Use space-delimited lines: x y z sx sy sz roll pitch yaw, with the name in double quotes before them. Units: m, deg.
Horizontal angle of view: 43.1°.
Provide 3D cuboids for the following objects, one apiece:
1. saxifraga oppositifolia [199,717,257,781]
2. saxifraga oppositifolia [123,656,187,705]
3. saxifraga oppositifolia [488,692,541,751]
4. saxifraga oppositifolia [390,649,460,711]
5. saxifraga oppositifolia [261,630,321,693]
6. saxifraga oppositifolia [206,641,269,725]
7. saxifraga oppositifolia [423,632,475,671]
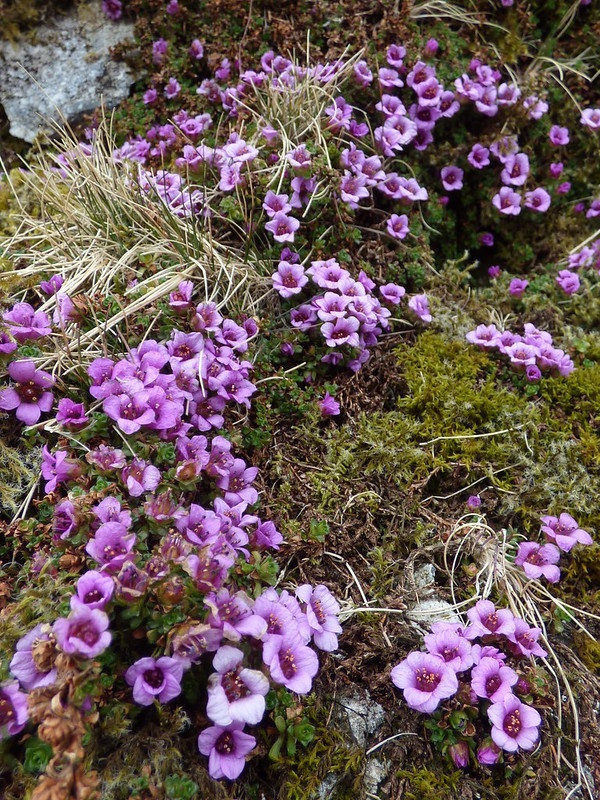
"saxifraga oppositifolia" -0.243 1.203 2.582 0.171 0.231 0.164 -19 58 -18
"saxifraga oppositifolia" -0.487 0.945 2.525 0.191 0.214 0.124 1 54 -5
"saxifraga oppositifolia" 0.761 1.146 2.694 0.196 0.080 0.181 -4 53 -9
"saxifraga oppositifolia" 0.458 1.028 2.720 0.237 0.245 0.088 7 78 -22
"saxifraga oppositifolia" -0.048 0.887 2.606 0.196 0.077 0.193 -10 24 10
"saxifraga oppositifolia" -0.213 0.964 2.555 0.253 0.110 0.245 -16 65 -5
"saxifraga oppositifolia" 0.562 0.922 2.807 0.155 0.069 0.146 -7 30 -18
